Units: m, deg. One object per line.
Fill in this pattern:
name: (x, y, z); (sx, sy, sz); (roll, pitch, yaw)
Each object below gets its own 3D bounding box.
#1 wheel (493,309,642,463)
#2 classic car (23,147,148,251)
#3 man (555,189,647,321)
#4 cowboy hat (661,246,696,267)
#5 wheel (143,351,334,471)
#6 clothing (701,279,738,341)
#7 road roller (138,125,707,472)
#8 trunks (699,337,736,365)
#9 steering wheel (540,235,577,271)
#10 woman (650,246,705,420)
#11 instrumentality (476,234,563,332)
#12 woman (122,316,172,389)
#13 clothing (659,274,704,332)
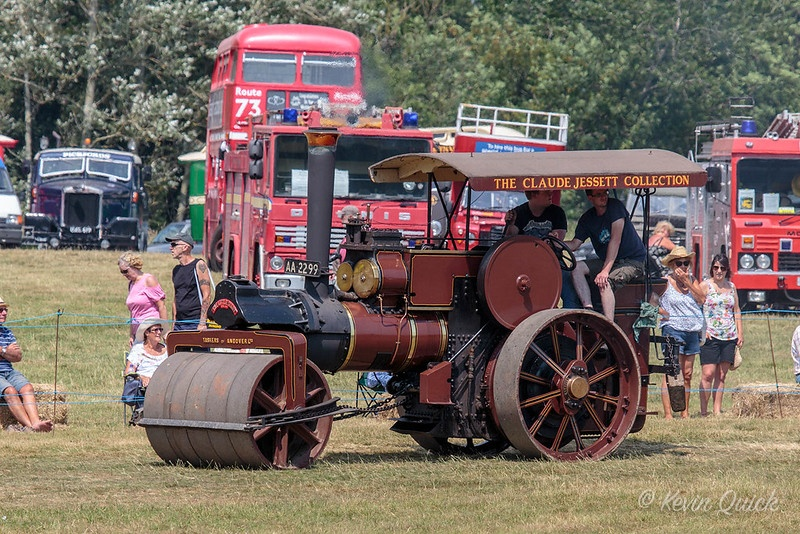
wheel: (2.722, 1.969, 29.215); (2.289, 2.521, 0.893); (1, -1, -23)
classic car: (-9.345, -2.043, 52.242); (2.338, 2.269, 4.023); (0, -5, -8)
man: (3.452, -0.197, 29.993); (1.615, 2.841, 1.133); (3, -6, -26)
cowboy hat: (5.321, -0.208, 33.617); (0.476, 0.222, 0.584); (-4, -9, 5)
wheel: (-2.636, 2.406, 28.925); (2.650, 1.954, 1.867); (-3, 5, 44)
clothing: (6.048, 0.778, 33.234); (0.756, 1.206, 0.595); (-4, 4, -28)
road roller: (0.515, 0.619, 30.197); (8.334, 5.619, 4.714); (0, 0, -19)
trunks: (5.996, 1.573, 33.030); (0.737, 0.630, 0.443); (3, -7, -19)
steering wheel: (2.679, -0.319, 29.690); (0.824, 0.097, 0.917); (17, 33, 7)
woman: (5.119, 1.166, 32.770); (1.198, 3.341, 0.798); (3, -9, -3)
instrumentality: (1.974, 0.307, 29.213); (1.165, 1.263, 0.395); (-19, 5, -19)
woman: (-4.443, 1.542, 31.398); (0.809, 1.346, 0.741); (6, -2, -36)
clothing: (5.285, 0.719, 32.947); (0.877, 1.135, 0.661); (2, -16, 3)
